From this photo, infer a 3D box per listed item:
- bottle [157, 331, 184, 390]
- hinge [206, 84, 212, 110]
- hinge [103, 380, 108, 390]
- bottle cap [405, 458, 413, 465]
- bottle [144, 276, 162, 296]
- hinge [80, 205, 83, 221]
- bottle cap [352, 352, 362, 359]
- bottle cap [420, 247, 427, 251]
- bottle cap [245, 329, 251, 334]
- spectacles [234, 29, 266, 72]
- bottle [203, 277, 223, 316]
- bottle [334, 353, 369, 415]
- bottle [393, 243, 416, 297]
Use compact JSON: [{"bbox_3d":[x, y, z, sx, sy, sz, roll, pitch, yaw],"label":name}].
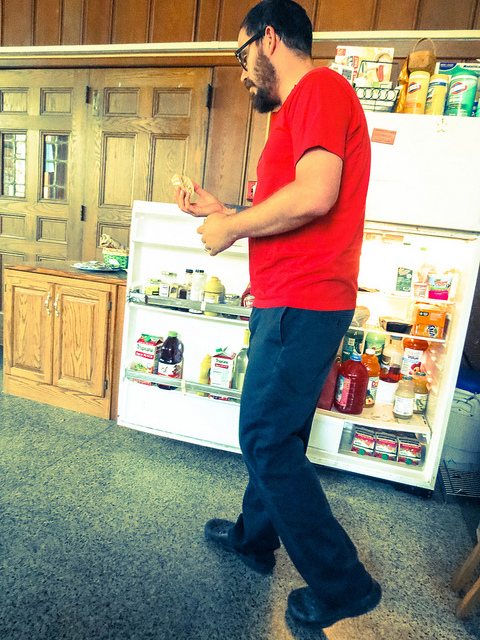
[{"bbox_3d":[-0.359,0.207,2.539,0.168,0.282,0.169,3,12,-1],"label":"bottle"},{"bbox_3d":[-0.209,-1.489,3.231,0.038,0.140,0.019,2,11,-22],"label":"hinge"},{"bbox_3d":[-0.736,0.356,2.643,0.024,0.058,0.013,4,10,-9],"label":"hinge"},{"bbox_3d":[0.784,0.663,2.269,0.034,0.035,0.019,-1,0,11],"label":"bottle cap"},{"bbox_3d":[-0.447,-0.171,2.481,0.087,0.095,0.087,2,7,-11],"label":"bottle"},{"bbox_3d":[-1.207,-0.813,3.680,0.029,0.113,0.006,11,11,27],"label":"hinge"},{"bbox_3d":[0.532,0.166,2.228,0.038,0.021,0.052,8,11,10],"label":"bottle cap"},{"bbox_3d":[0.883,-0.343,2.351,0.018,0.011,0.034,3,5,10],"label":"bottle cap"},{"bbox_3d":[0.034,0.058,2.413,0.025,0.023,0.025,0,0,2],"label":"bottle cap"},{"bbox_3d":[0.024,-0.723,1.293,0.018,0.068,0.068,29,23,9],"label":"spectacles"},{"bbox_3d":[-0.128,-0.118,2.417,0.104,0.191,0.106,3,8,0],"label":"bottle"},{"bbox_3d":[0.514,0.314,2.260,0.132,0.257,0.074,8,10,10],"label":"bottle"},{"bbox_3d":[0.786,-0.261,2.333,0.101,0.380,0.080,1,53,17],"label":"bottle"}]
